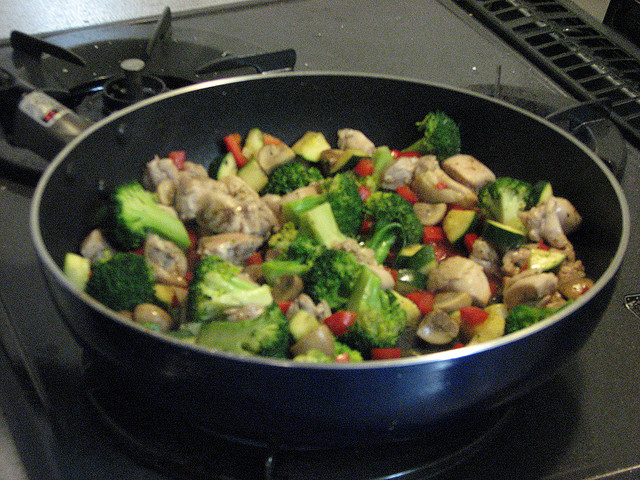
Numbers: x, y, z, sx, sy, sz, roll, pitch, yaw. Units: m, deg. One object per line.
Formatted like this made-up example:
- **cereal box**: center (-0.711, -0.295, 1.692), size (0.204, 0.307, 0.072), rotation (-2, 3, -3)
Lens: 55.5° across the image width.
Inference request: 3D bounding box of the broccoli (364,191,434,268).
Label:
- **broccoli**: center (0.229, -0.043, 1.881), size (0.126, 0.141, 0.185), rotation (-38, 57, 3)

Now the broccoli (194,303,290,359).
- **broccoli**: center (-0.167, 0.229, 1.495), size (0.142, 0.037, 0.137), rotation (18, 30, 31)

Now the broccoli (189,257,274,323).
- **broccoli**: center (-0.239, 0.142, 1.594), size (0.172, 0.061, 0.167), rotation (16, 44, -1)

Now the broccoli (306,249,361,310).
- **broccoli**: center (0.036, 0.104, 1.655), size (0.139, 0.056, 0.159), rotation (26, 91, 5)

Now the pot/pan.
- **pot/pan**: center (0.043, -0.046, 1.651), size (1.486, 0.397, 1.171), rotation (8, 56, 4)

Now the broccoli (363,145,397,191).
- **broccoli**: center (0.193, -0.254, 2.006), size (0.084, 0.031, 0.136), rotation (14, 45, 11)

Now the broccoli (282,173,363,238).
- **broccoli**: center (0.015, -0.091, 1.830), size (0.205, 0.105, 0.175), rotation (-20, 75, -20)
